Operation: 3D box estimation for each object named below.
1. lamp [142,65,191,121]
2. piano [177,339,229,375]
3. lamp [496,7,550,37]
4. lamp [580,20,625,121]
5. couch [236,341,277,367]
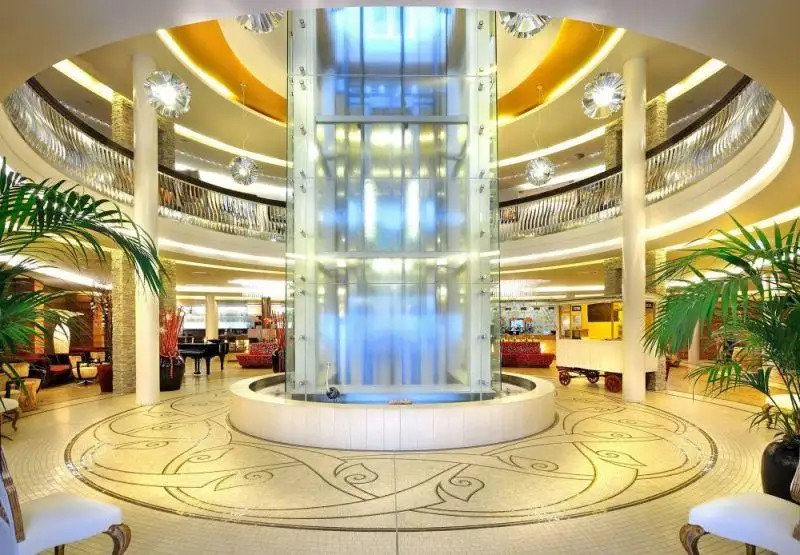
[{"bbox_3d":[-3.893,-3.063,8.160,0.691,0.681,0.443,0,2,15],"label":"lamp"},{"bbox_3d":[-6.236,2.391,15.571,1.223,1.087,1.580,-2,-7,8],"label":"piano"},{"bbox_3d":[1.801,-3.760,7.197,0.621,0.404,0.490,0,2,19],"label":"lamp"},{"bbox_3d":[3.301,-2.999,8.000,0.578,0.683,0.764,0,2,21],"label":"lamp"},{"bbox_3d":[-4.966,2.740,17.014,1.222,0.668,1.836,0,1,-13],"label":"couch"}]
